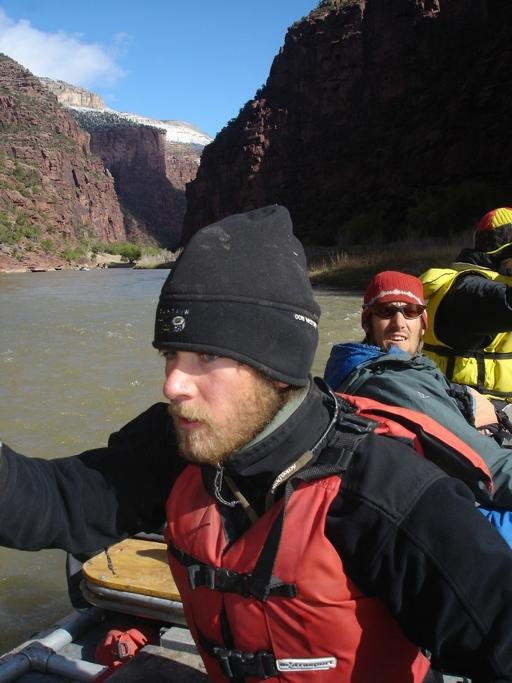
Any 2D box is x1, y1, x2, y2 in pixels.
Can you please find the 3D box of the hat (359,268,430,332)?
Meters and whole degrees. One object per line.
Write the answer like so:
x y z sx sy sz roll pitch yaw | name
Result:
0.602 -0.184 2.870 0.298 0.185 0.267 2 -12 1 | hat
